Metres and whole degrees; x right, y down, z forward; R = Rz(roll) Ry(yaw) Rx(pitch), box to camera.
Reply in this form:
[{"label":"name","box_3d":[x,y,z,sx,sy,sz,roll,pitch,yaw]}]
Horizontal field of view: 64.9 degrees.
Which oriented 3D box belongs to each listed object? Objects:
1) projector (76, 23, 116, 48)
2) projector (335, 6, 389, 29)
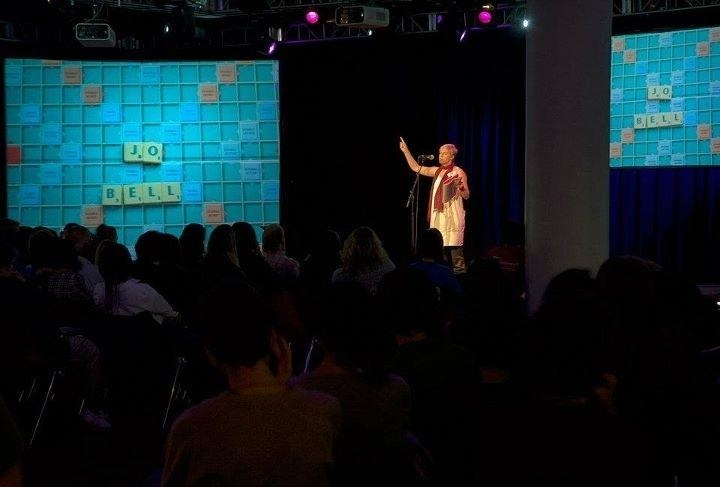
[{"label":"projector","box_3d":[-3.577,-2.855,7.711,0.445,0.316,0.356,-2,14,-5]},{"label":"projector","box_3d":[0.025,-2.984,7.448,0.689,0.256,0.274,-2,14,-5]}]
